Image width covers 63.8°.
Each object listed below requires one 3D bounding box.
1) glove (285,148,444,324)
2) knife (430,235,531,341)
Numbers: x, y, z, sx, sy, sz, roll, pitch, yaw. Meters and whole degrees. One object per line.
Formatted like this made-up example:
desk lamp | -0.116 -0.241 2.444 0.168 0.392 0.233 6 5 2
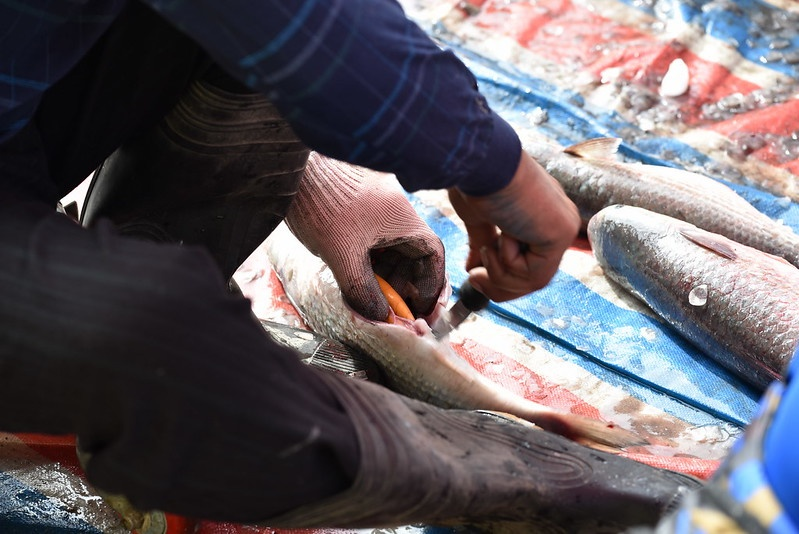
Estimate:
glove | -0.145 -0.033 2.442 0.770 0.243 0.430 55 50 -12
knife | 0.243 0.159 2.209 0.113 0.696 0.116 33 55 5
